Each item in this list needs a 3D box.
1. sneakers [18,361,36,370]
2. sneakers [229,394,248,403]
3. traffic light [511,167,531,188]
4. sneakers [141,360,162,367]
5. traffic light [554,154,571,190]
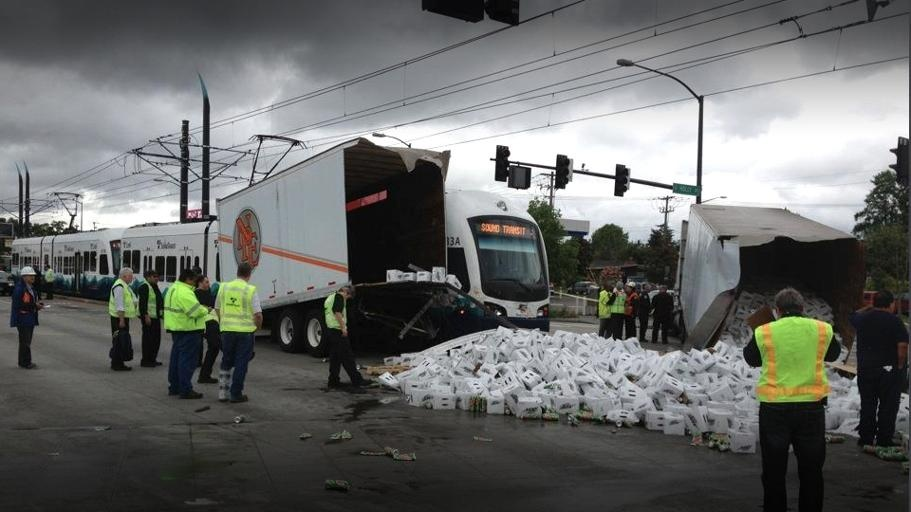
[{"bbox_3d":[-10.416,2.629,17.740,0.488,0.178,0.154,-1,0,-4],"label":"sneakers"},{"bbox_3d":[-4.505,2.960,15.356,0.419,0.154,0.131,-2,1,-25],"label":"sneakers"},{"bbox_3d":[2.654,-3.172,29.761,0.759,0.878,0.725,5,14,12],"label":"traffic light"},{"bbox_3d":[-7.770,2.721,18.616,0.579,0.211,0.177,0,-1,-4],"label":"sneakers"},{"bbox_3d":[4.461,-3.407,30.232,0.649,1.423,1.183,3,14,5],"label":"traffic light"}]
